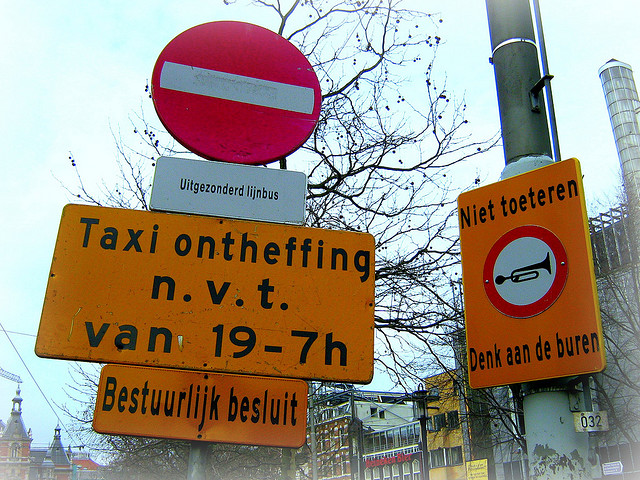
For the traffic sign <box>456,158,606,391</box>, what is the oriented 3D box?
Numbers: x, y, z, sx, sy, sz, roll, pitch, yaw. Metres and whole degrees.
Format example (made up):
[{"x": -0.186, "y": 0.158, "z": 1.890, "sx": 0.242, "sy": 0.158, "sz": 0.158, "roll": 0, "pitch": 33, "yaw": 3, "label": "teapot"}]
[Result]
[{"x": 1.444, "y": 0.264, "z": 4.715, "sx": 1.174, "sy": 1.908, "sz": 0.232, "roll": -17, "pitch": -28, "yaw": 36, "label": "traffic sign"}]
